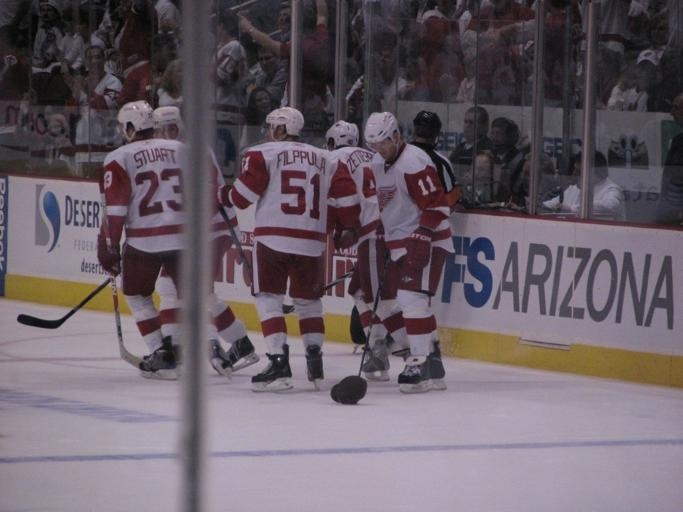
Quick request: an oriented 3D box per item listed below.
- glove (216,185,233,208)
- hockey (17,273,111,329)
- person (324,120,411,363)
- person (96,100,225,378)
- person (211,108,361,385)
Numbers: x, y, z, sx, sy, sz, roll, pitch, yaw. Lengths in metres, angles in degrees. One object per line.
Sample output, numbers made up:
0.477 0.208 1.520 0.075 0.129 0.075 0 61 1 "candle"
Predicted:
-0.757 -0.400 6.264 0.096 0.133 0.052 6 11 26 "glove"
-2.341 0.365 8.286 0.691 0.229 0.085 -33 -15 13 "hockey"
0.186 -0.211 6.685 0.262 1.434 0.729 -12 0 -40 "person"
-1.310 -0.110 6.320 0.560 1.775 0.599 -2 8 -13 "person"
-0.318 -0.061 6.207 0.863 1.765 0.584 -1 7 -10 "person"
